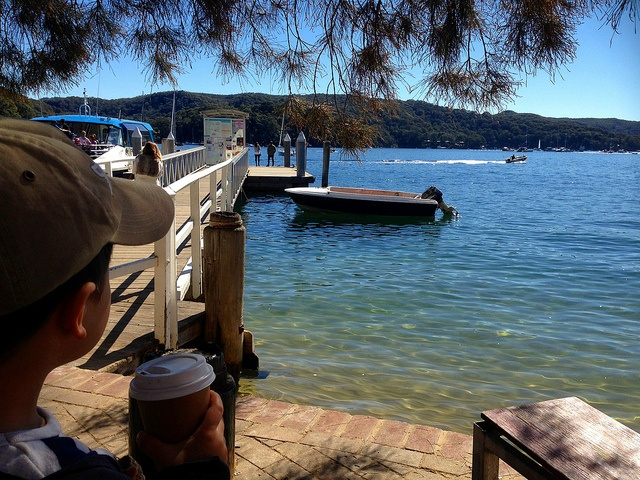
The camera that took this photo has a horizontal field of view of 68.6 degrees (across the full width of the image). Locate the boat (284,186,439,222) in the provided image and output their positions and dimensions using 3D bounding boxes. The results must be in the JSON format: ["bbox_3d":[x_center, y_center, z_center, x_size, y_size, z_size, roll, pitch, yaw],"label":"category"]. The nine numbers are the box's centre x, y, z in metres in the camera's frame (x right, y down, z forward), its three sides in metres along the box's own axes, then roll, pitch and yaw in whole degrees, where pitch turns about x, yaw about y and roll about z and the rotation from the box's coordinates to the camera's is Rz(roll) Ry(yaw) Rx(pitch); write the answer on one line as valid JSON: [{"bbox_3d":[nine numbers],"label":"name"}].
[{"bbox_3d":[1.682,-1.566,19.545,6.396,1.806,2.327,5,2,3],"label":"boat"}]
